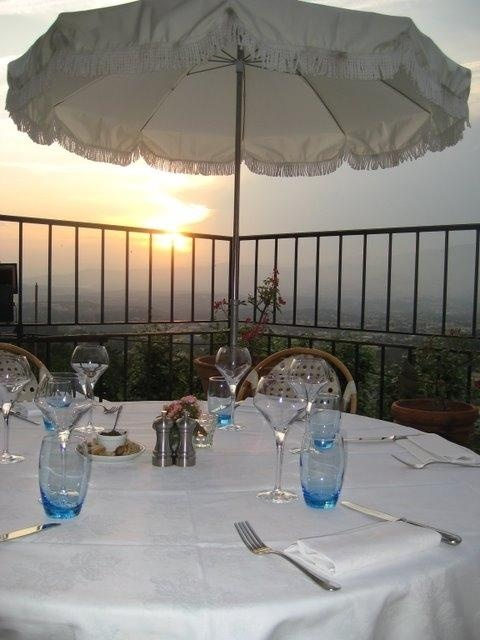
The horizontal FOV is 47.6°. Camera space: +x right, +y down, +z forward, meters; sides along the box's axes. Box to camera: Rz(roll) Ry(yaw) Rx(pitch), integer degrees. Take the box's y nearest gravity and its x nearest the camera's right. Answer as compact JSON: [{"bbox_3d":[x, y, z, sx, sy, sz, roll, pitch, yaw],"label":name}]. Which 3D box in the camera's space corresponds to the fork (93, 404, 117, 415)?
[{"bbox_3d":[-0.415,0.272,1.686,0.067,0.026,0.036,-1,3,-5],"label":"fork"}]

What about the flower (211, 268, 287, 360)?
[{"bbox_3d":[0.137,-0.018,4.159,0.420,0.680,0.495,1,8,-34],"label":"flower"}]

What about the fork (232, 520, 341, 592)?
[{"bbox_3d":[0.045,0.311,0.730,0.047,0.013,0.236,2,1,-29],"label":"fork"}]
